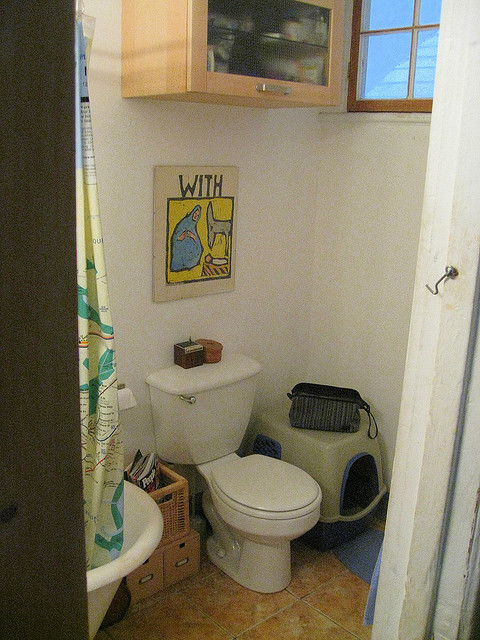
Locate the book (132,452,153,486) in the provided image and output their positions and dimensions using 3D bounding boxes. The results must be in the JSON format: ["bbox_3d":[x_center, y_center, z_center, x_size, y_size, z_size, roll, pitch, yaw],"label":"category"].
[{"bbox_3d":[-0.335,0.531,1.870,0.024,0.058,0.076,31,52,9],"label":"book"}]

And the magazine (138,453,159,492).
[{"bbox_3d":[-0.323,0.541,1.872,0.028,0.115,0.098,-2,14,24],"label":"magazine"}]

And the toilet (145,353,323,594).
[{"bbox_3d":[0.013,0.586,2.029,0.459,0.746,0.619,-12,15,-43],"label":"toilet"}]

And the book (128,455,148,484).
[{"bbox_3d":[-0.356,0.529,1.868,0.047,0.068,0.021,15,6,-15],"label":"book"}]

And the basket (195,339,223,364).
[{"bbox_3d":[-0.116,0.121,2.030,0.080,0.053,0.082,19,24,18],"label":"basket"}]

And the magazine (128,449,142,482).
[{"bbox_3d":[-0.371,0.521,1.889,0.006,0.065,0.063,14,29,21],"label":"magazine"}]
